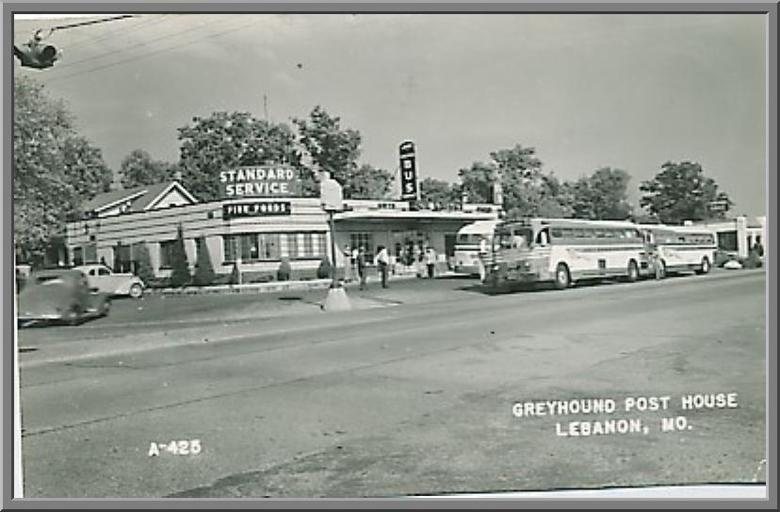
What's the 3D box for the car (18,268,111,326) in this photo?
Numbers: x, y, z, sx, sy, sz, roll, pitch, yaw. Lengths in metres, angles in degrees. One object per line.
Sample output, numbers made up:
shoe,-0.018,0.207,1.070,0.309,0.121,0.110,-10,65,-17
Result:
car,-9.678,1.218,21.107,2.052,0.650,1.653,1,7,10
